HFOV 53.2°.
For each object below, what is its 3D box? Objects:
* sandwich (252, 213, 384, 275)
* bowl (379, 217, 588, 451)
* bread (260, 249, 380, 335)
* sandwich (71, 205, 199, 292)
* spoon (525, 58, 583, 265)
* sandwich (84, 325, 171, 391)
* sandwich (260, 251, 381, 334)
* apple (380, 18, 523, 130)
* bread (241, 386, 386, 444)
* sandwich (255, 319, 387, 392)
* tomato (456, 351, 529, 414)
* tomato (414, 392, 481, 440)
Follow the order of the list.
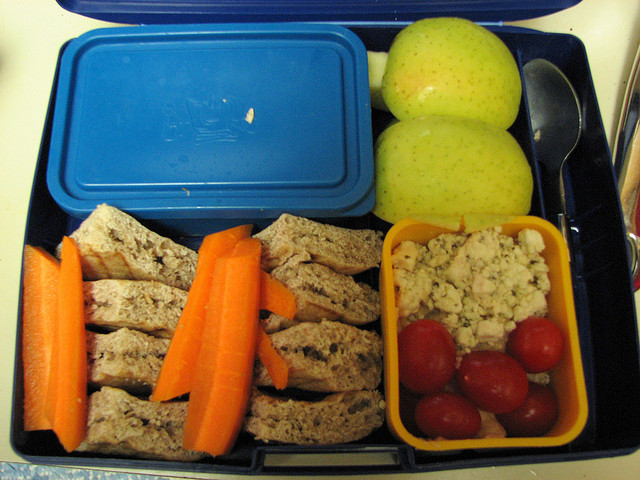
[{"bbox_3d":[0.002,0.051,2.125,0.364,0.093,0.212,20,64,-13],"label":"sandwich"},{"bbox_3d":[0.513,0.288,1.998,0.638,0.283,0.682,-2,66,4],"label":"bowl"},{"bbox_3d":[0.003,0.188,2.053,0.377,0.107,0.312,13,33,10],"label":"bread"},{"bbox_3d":[-0.585,0.048,2.101,0.231,0.440,0.162,2,68,37],"label":"sandwich"},{"bbox_3d":[0.825,-0.268,2.267,0.170,0.086,0.702,-1,87,-6],"label":"spoon"},{"bbox_3d":[-0.671,0.367,1.953,0.317,0.254,0.070,15,57,-30],"label":"sandwich"},{"bbox_3d":[0.010,0.186,2.072,0.308,0.106,0.263,12,68,-20],"label":"sandwich"},{"bbox_3d":[0.440,-0.529,2.216,0.394,0.317,0.326,21,62,-13],"label":"apple"},{"bbox_3d":[0.006,0.519,1.869,0.340,0.088,0.196,2,77,-7],"label":"bread"},{"bbox_3d":[0.062,0.360,2.028,0.076,0.334,0.186,35,67,-33],"label":"sandwich"},{"bbox_3d":[0.523,0.424,1.953,0.210,0.091,0.169,19,69,13],"label":"tomato"},{"bbox_3d":[0.389,0.531,1.962,0.196,0.124,0.153,13,36,8],"label":"tomato"}]
